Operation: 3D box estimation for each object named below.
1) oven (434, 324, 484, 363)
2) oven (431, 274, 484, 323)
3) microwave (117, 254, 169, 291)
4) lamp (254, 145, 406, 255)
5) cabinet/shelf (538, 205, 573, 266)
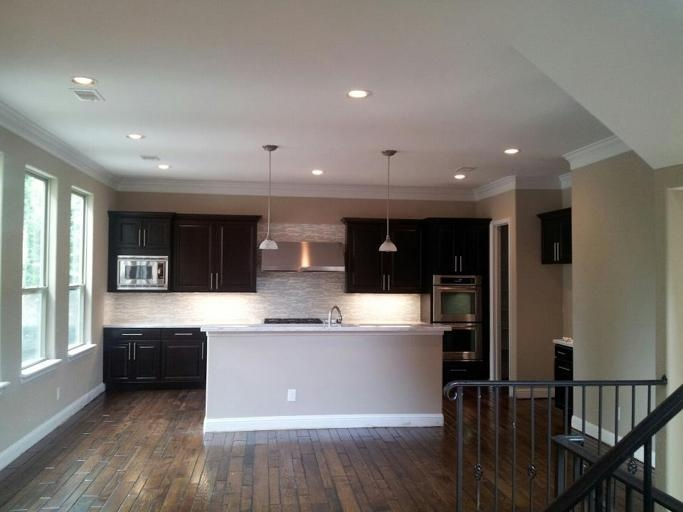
[{"bbox_3d":[1.690,1.289,7.551,0.673,0.653,0.471,0,-7,-7],"label":"oven"},{"bbox_3d":[1.822,0.731,8.175,0.753,0.759,0.538,-1,-15,14],"label":"oven"},{"bbox_3d":[-3.030,0.290,7.797,0.728,0.519,0.398,1,-9,-38],"label":"microwave"},{"bbox_3d":[-0.081,-0.651,7.214,2.037,1.267,2.400,0,2,-8],"label":"lamp"},{"bbox_3d":[3.003,-0.213,6.998,0.342,0.688,0.688,5,-6,-19],"label":"cabinet/shelf"}]
